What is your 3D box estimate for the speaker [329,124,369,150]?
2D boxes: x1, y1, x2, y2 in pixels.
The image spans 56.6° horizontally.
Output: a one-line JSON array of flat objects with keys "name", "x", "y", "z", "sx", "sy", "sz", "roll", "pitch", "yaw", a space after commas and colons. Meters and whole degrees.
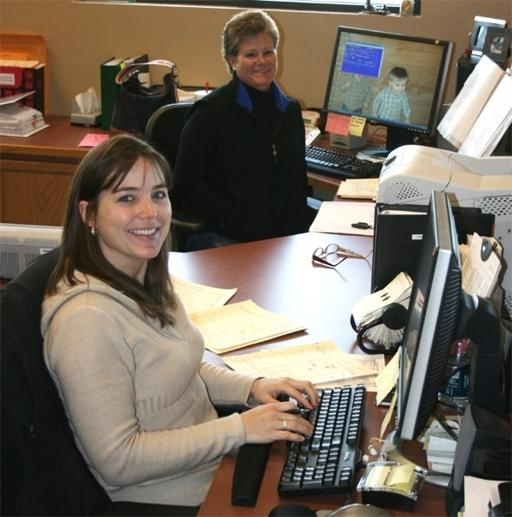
[{"name": "speaker", "x": 0.538, "y": -0.743, "z": 2.738, "sx": 0.148, "sy": 0.161, "sz": 0.149, "roll": -27, "pitch": 40, "yaw": -35}]

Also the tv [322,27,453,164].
[{"name": "tv", "x": 0.688, "y": -0.861, "z": 2.623, "sx": 0.556, "sy": 0.663, "sz": 0.205, "roll": 13, "pitch": 17, "yaw": 16}]

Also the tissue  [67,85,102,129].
[{"name": "tissue ", "x": -1.165, "y": -1.009, "z": 3.134, "sx": 0.184, "sy": 0.199, "sz": 0.229, "roll": 33, "pitch": 24, "yaw": 11}]

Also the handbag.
[{"name": "handbag", "x": -0.697, "y": -1.022, "z": 3.005, "sx": 0.377, "sy": 0.443, "sz": 0.279, "roll": -8, "pitch": 36, "yaw": -12}]

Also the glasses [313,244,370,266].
[{"name": "glasses", "x": 0.282, "y": -0.011, "z": 1.699, "sx": 0.103, "sy": 0.035, "sz": 0.104, "roll": 18, "pitch": 34, "yaw": 34}]

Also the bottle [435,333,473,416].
[{"name": "bottle", "x": 0.400, "y": 0.225, "z": 0.946, "sx": 0.054, "sy": 0.128, "sz": 0.058, "roll": 7, "pitch": -6, "yaw": 1}]

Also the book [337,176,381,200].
[{"name": "book", "x": 0.472, "y": -0.324, "z": 2.212, "sx": 0.142, "sy": 0.040, "sz": 0.159, "roll": 10, "pitch": 34, "yaw": 27}]

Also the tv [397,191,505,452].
[{"name": "tv", "x": 0.314, "y": 0.087, "z": 0.798, "sx": 0.088, "sy": 0.318, "sz": 0.302, "roll": 9, "pitch": 19, "yaw": 15}]

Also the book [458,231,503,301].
[{"name": "book", "x": 0.400, "y": 0.015, "z": 0.853, "sx": 0.017, "sy": 0.104, "sz": 0.125, "roll": 14, "pitch": 8, "yaw": -8}]
